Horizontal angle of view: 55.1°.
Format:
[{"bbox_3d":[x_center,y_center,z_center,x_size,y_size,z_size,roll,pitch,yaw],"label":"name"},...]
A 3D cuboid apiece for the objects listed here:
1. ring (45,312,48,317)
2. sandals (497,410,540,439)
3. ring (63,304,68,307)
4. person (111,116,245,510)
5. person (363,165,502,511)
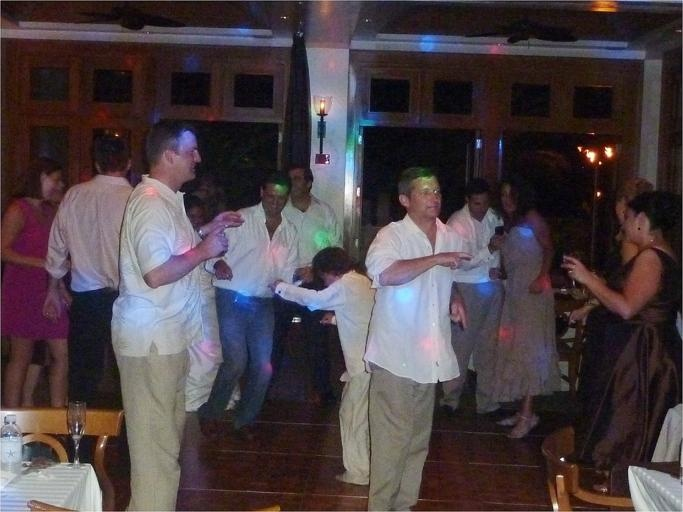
[{"bbox_3d":[-2.030,0.404,4.496,0.028,0.040,0.010,0,12,26],"label":"ring"},{"bbox_3d":[1.444,1.340,5.241,0.423,0.182,0.134,14,25,-49],"label":"sandals"},{"bbox_3d":[-2.002,0.354,4.732,0.030,0.031,0.031,2,-3,0],"label":"ring"},{"bbox_3d":[-0.903,0.404,3.413,0.549,2.201,0.455,-2,9,-24],"label":"person"},{"bbox_3d":[0.409,0.545,3.678,0.561,2.071,0.500,3,8,8],"label":"person"}]
